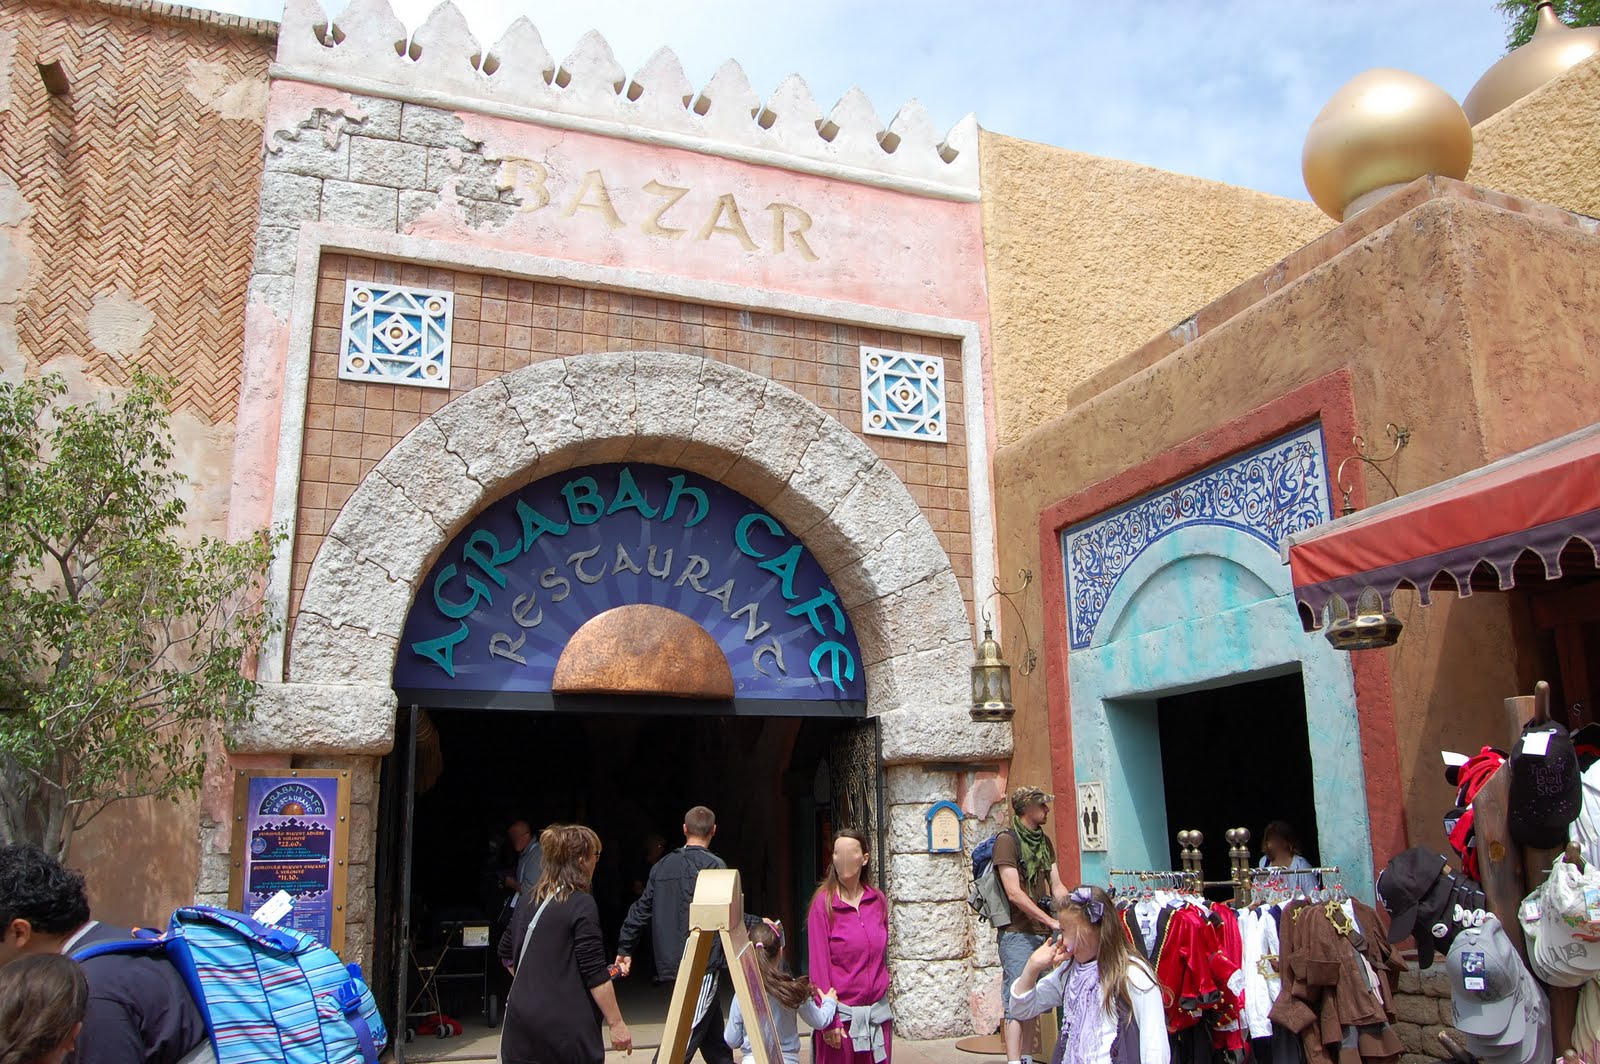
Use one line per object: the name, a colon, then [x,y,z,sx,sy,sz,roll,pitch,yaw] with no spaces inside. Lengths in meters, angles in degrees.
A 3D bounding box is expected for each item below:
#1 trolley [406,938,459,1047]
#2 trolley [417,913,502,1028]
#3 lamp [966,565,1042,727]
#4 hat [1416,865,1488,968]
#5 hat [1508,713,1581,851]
trolley: [-3.336,4.007,10.992,0.437,0.899,0.650,0,-15,-17]
trolley: [-3.280,4.146,11.818,0.870,1.000,0.734,3,-13,-25]
lamp: [1.680,0.924,10.402,0.516,1.357,0.908,-8,-17,24]
hat: [3.504,2.052,6.706,0.448,0.473,0.323,9,1,-34]
hat: [3.818,1.268,6.443,0.372,0.640,0.403,0,-54,30]
